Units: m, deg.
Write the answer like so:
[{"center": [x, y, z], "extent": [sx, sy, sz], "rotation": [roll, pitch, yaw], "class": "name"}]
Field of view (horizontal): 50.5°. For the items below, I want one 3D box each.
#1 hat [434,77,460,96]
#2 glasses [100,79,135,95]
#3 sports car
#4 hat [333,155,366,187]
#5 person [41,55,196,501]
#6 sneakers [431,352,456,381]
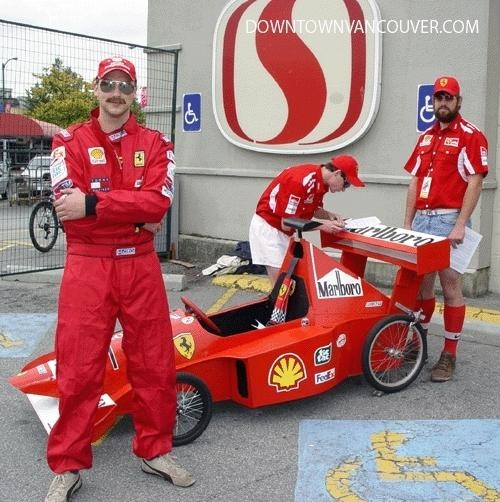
[{"center": [1.440, -1.192, 3.904], "extent": [0.162, 0.118, 0.233], "rotation": [8, 16, 35], "class": "hat"}, {"center": [-0.605, -0.741, 2.398], "extent": [0.086, 0.030, 0.087], "rotation": [0, 1, -20], "class": "glasses"}, {"center": [-0.023, 0.301, 3.670], "extent": [2.878, 1.162, 1.309], "rotation": [-4, 11, -27], "class": "sports car"}, {"center": [0.726, -0.608, 4.039], "extent": [0.216, 0.222, 0.308], "rotation": [1, 8, 8], "class": "hat"}, {"center": [-0.639, 0.134, 2.450], "extent": [0.668, 2.030, 0.388], "rotation": [-3, 8, -22], "class": "person"}, {"center": [1.443, 0.867, 3.998], "extent": [0.110, 0.132, 0.316], "rotation": [5, 9, 30], "class": "sneakers"}]
